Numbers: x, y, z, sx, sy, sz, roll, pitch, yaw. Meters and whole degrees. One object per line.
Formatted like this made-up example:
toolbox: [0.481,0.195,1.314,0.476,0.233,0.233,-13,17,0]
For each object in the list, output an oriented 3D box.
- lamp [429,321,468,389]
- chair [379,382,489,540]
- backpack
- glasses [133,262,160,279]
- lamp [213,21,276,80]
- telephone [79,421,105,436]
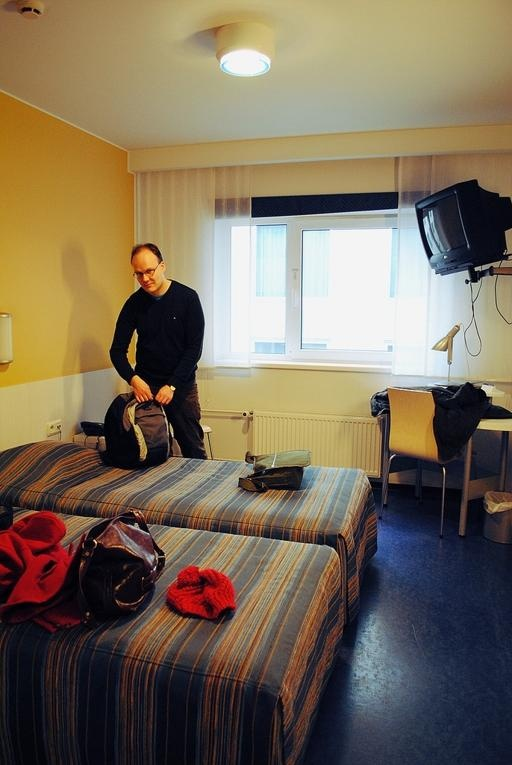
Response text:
lamp: [1.238,-0.187,3.495,0.174,0.390,0.373,3,8,20]
chair: [1.058,0.432,3.230,0.521,0.832,0.477,-9,12,-30]
backpack: [-0.603,0.265,2.799,0.345,0.404,0.401,-1,-4,-31]
glasses: [-0.570,-0.584,2.797,0.136,0.087,0.097,-1,7,-11]
lamp: [-0.046,-1.339,2.145,0.226,0.108,0.260,1,8,1]
telephone: [-1.019,0.268,3.337,0.149,0.059,0.114,3,5,38]
